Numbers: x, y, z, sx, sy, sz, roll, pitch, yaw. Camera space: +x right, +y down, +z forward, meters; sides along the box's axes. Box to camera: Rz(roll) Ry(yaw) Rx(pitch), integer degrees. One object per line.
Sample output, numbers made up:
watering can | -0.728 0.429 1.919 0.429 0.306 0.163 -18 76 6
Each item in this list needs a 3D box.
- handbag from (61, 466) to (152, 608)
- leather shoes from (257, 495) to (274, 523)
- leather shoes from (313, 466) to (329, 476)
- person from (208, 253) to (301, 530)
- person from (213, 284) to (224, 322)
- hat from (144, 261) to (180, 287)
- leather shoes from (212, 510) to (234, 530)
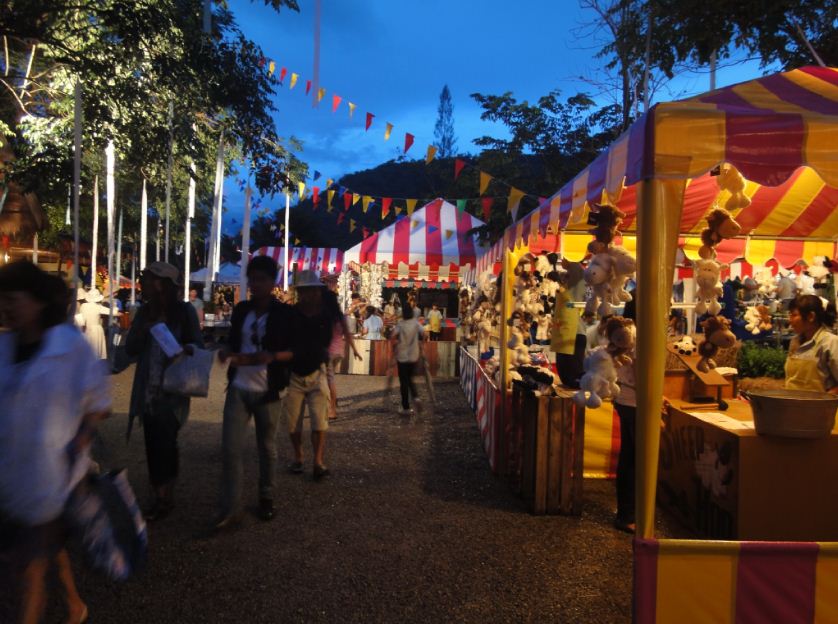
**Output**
handbag | -1.931 1.344 4.321 0.236 0.694 0.475 -23 21 -38
leather shoes | -1.351 1.738 6.131 0.111 0.149 0.321 3 -14 -12
leather shoes | -1.030 1.671 7.316 0.154 0.123 0.154 0 5 -10
person | -1.419 0.673 6.045 0.635 2.293 0.565 0 4 -12
person | -8.131 -0.303 28.134 0.443 0.360 1.584 -2 40 -6
hat | -2.286 -0.342 6.220 0.231 0.194 0.417 2 5 8
leather shoes | -1.654 1.770 5.879 0.148 0.128 0.068 -2 15 0
